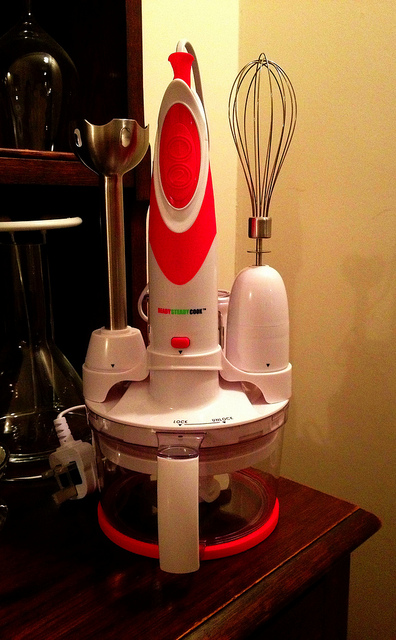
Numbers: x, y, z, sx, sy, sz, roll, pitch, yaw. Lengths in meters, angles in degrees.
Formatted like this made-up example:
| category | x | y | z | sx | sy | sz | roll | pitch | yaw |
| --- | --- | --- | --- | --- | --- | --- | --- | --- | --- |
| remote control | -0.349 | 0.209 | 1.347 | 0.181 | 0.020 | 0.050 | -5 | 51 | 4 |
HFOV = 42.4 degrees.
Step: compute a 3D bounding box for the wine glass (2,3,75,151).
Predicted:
| category | x | y | z | sx | sy | sz | roll | pitch | yaw |
| --- | --- | --- | --- | --- | --- | --- | --- | --- | --- |
| wine glass | -0.169 | -0.260 | 0.540 | 0.067 | 0.156 | 0.043 | 0 | 6 | -9 |
